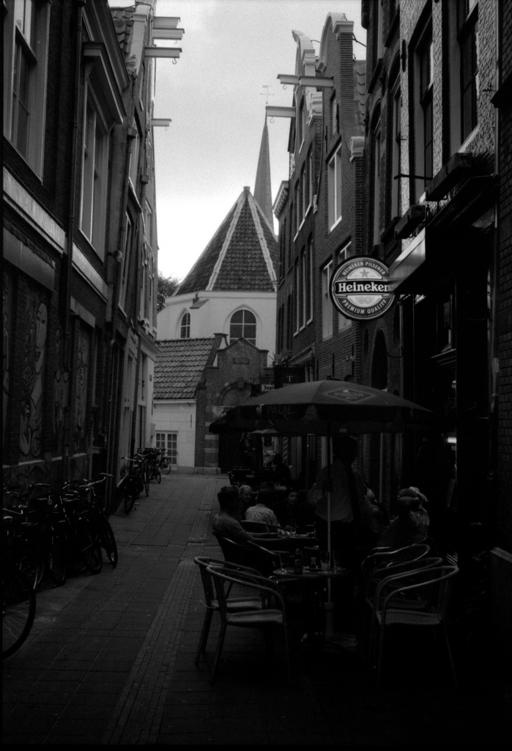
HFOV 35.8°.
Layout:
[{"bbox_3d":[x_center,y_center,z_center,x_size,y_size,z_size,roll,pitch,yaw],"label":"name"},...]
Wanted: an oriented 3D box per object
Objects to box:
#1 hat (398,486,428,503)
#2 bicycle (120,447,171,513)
[{"bbox_3d":[1.580,1.190,7.887,0.234,0.172,0.403,7,-12,4],"label":"hat"},{"bbox_3d":[-2.887,2.670,20.311,0.579,1.288,1.977,-3,1,5],"label":"bicycle"}]
